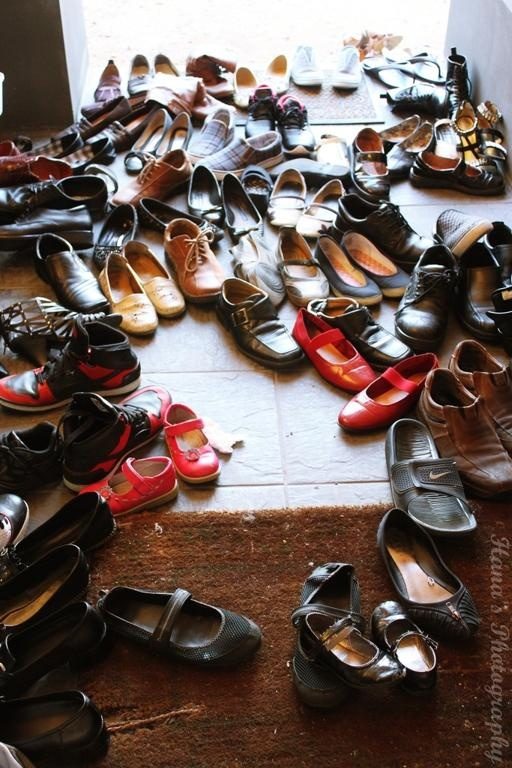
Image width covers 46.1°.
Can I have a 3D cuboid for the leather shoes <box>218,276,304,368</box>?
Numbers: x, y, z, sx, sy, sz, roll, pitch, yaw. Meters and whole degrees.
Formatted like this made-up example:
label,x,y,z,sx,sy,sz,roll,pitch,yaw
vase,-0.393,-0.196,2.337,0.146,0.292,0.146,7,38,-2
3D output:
label,x,y,z,sx,sy,sz,roll,pitch,yaw
leather shoes,-0.003,-0.207,1.955,0.179,0.156,0.382,-21,49,-29
